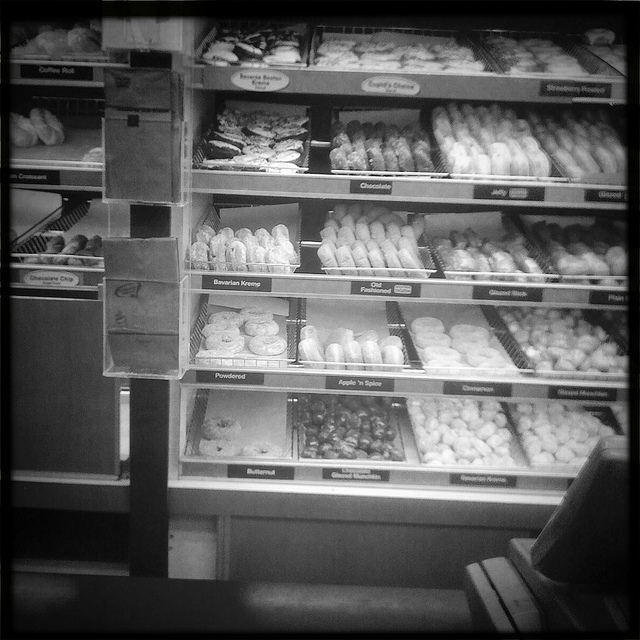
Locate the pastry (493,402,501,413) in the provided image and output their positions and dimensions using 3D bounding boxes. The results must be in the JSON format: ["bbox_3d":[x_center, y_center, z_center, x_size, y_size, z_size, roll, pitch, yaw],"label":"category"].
[{"bbox_3d":[0.664,0.322,2.602,0.008,0.029,0.027,9,-10,-22],"label":"pastry"}]

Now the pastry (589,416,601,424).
[{"bbox_3d":[1.015,0.362,2.550,0.029,0.008,0.029,23,19,-31],"label":"pastry"}]

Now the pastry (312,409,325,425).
[{"bbox_3d":[-0.004,0.350,2.543,0.042,0.042,0.066,-13,6,3],"label":"pastry"}]

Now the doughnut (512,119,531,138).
[{"bbox_3d":[0.687,-0.667,2.377,0.065,0.039,0.102,-1,47,7],"label":"doughnut"}]

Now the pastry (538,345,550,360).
[{"bbox_3d":[0.773,0.110,2.393,0.024,0.011,0.045,5,34,-10],"label":"pastry"}]

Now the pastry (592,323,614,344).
[{"bbox_3d":[1.031,0.048,2.530,0.052,0.018,0.053,-24,54,-36],"label":"pastry"}]

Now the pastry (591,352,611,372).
[{"bbox_3d":[0.948,0.139,2.344,0.040,0.031,0.063,-6,50,5],"label":"pastry"}]

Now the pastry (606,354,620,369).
[{"bbox_3d":[0.989,0.136,2.341,0.027,0.012,0.039,10,30,-5],"label":"pastry"}]

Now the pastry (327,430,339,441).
[{"bbox_3d":[0.044,0.400,2.421,0.019,0.008,0.037,-29,7,22],"label":"pastry"}]

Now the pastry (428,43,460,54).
[{"bbox_3d":[0.406,-0.885,2.263,0.099,0.030,0.069,2,31,15],"label":"pastry"}]

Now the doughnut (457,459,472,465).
[{"bbox_3d":[0.485,0.475,2.329,0.043,0.012,0.056,-15,6,8],"label":"doughnut"}]

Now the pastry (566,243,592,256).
[{"bbox_3d":[0.909,-0.253,2.423,0.047,0.020,0.061,-1,19,-6],"label":"pastry"}]

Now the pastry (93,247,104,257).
[{"bbox_3d":[-0.695,-0.215,2.182,0.036,0.010,0.038,2,34,-1],"label":"pastry"}]

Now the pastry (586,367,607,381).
[{"bbox_3d":[0.913,0.177,2.307,0.036,0.018,0.046,4,26,6],"label":"pastry"}]

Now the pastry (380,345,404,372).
[{"bbox_3d":[0.239,0.121,2.292,0.067,0.082,0.074,13,4,-6],"label":"pastry"}]

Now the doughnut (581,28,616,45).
[{"bbox_3d":[0.941,-0.951,2.340,0.069,0.029,0.073,-37,54,-27],"label":"doughnut"}]

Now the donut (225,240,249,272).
[{"bbox_3d":[-0.255,-0.190,2.130,0.053,0.100,0.024,-18,-6,6],"label":"donut"}]

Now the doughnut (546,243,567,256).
[{"bbox_3d":[0.837,-0.256,2.448,0.046,0.028,0.053,4,37,0],"label":"doughnut"}]

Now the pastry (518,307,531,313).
[{"bbox_3d":[0.796,-0.042,2.695,0.023,0.015,0.026,0,19,-2],"label":"pastry"}]

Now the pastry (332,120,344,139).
[{"bbox_3d":[0.065,-0.691,2.514,0.055,0.026,0.088,-7,64,8],"label":"pastry"}]

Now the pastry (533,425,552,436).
[{"bbox_3d":[0.789,0.383,2.449,0.034,0.014,0.038,-9,10,-3],"label":"pastry"}]

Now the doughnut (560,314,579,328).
[{"bbox_3d":[0.943,-0.004,2.618,0.049,0.028,0.054,-8,35,-22],"label":"doughnut"}]

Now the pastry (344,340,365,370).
[{"bbox_3d":[0.112,0.111,2.307,0.066,0.147,0.078,-1,3,-4],"label":"pastry"}]

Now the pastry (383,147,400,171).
[{"bbox_3d":[0.233,-0.521,2.275,0.039,0.020,0.089,-8,63,-4],"label":"pastry"}]

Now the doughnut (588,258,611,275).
[{"bbox_3d":[0.928,-0.177,2.310,0.082,0.065,0.034,-16,6,-22],"label":"doughnut"}]

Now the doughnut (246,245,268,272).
[{"bbox_3d":[-0.195,-0.194,2.154,0.053,0.080,0.020,-1,-3,-7],"label":"doughnut"}]

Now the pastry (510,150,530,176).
[{"bbox_3d":[0.622,-0.485,2.163,0.050,0.082,0.028,4,-13,1],"label":"pastry"}]

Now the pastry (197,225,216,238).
[{"bbox_3d":[-0.370,-0.303,2.310,0.049,0.019,0.053,19,28,-25],"label":"pastry"}]

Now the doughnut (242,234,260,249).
[{"bbox_3d":[-0.221,-0.248,2.232,0.044,0.023,0.052,4,48,-7],"label":"doughnut"}]

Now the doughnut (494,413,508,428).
[{"bbox_3d":[0.671,0.360,2.567,0.042,0.034,0.111,-11,8,28],"label":"doughnut"}]

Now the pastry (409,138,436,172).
[{"bbox_3d":[0.349,-0.560,2.317,0.062,0.043,0.141,1,43,-7],"label":"pastry"}]

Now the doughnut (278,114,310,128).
[{"bbox_3d":[-0.091,-0.716,2.504,0.088,0.030,0.067,19,34,34],"label":"doughnut"}]

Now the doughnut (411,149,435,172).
[{"bbox_3d":[0.336,-0.518,2.276,0.048,0.030,0.090,0,40,-5],"label":"doughnut"}]

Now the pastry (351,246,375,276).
[{"bbox_3d":[0.139,-0.201,2.263,0.027,0.111,0.047,-15,-11,-42],"label":"pastry"}]

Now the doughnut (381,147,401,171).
[{"bbox_3d":[0.233,-0.528,2.280,0.057,0.027,0.123,-10,61,-4],"label":"doughnut"}]

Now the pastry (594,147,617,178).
[{"bbox_3d":[0.918,-0.504,2.217,0.057,0.105,0.099,-11,6,8],"label":"pastry"}]

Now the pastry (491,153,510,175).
[{"bbox_3d":[0.563,-0.484,2.162,0.056,0.072,0.039,-11,5,18],"label":"pastry"}]

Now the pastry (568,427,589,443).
[{"bbox_3d":[0.913,0.392,2.444,0.047,0.013,0.052,19,35,33],"label":"pastry"}]

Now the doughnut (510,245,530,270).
[{"bbox_3d":[0.688,-0.213,2.388,0.036,0.054,0.158,15,3,6],"label":"doughnut"}]

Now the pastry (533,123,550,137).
[{"bbox_3d":[0.768,-0.666,2.418,0.052,0.031,0.056,-14,31,-26],"label":"pastry"}]

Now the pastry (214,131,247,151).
[{"bbox_3d":[-0.298,-0.596,2.292,0.072,0.036,0.069,30,9,22],"label":"pastry"}]

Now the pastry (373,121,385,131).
[{"bbox_3d":[0.221,-0.716,2.578,0.043,0.052,0.086,0,7,1],"label":"pastry"}]

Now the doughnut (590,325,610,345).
[{"bbox_3d":[1.023,0.051,2.542,0.038,0.020,0.055,14,25,-3],"label":"doughnut"}]

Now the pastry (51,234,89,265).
[{"bbox_3d":[-0.800,-0.222,2.215,0.040,0.057,0.147,22,37,-11],"label":"pastry"}]

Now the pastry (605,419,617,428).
[{"bbox_3d":[1.086,0.381,2.591,0.022,0.007,0.024,0,30,-3],"label":"pastry"}]

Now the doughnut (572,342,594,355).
[{"bbox_3d":[0.918,0.096,2.412,0.068,0.041,0.054,-13,6,18],"label":"doughnut"}]

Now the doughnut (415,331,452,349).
[{"bbox_3d":[0.410,0.072,2.505,0.135,0.046,0.101,-15,6,-1],"label":"doughnut"}]

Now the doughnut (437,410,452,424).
[{"bbox_3d":[0.459,0.355,2.555,0.049,0.033,0.066,-11,7,27],"label":"doughnut"}]
